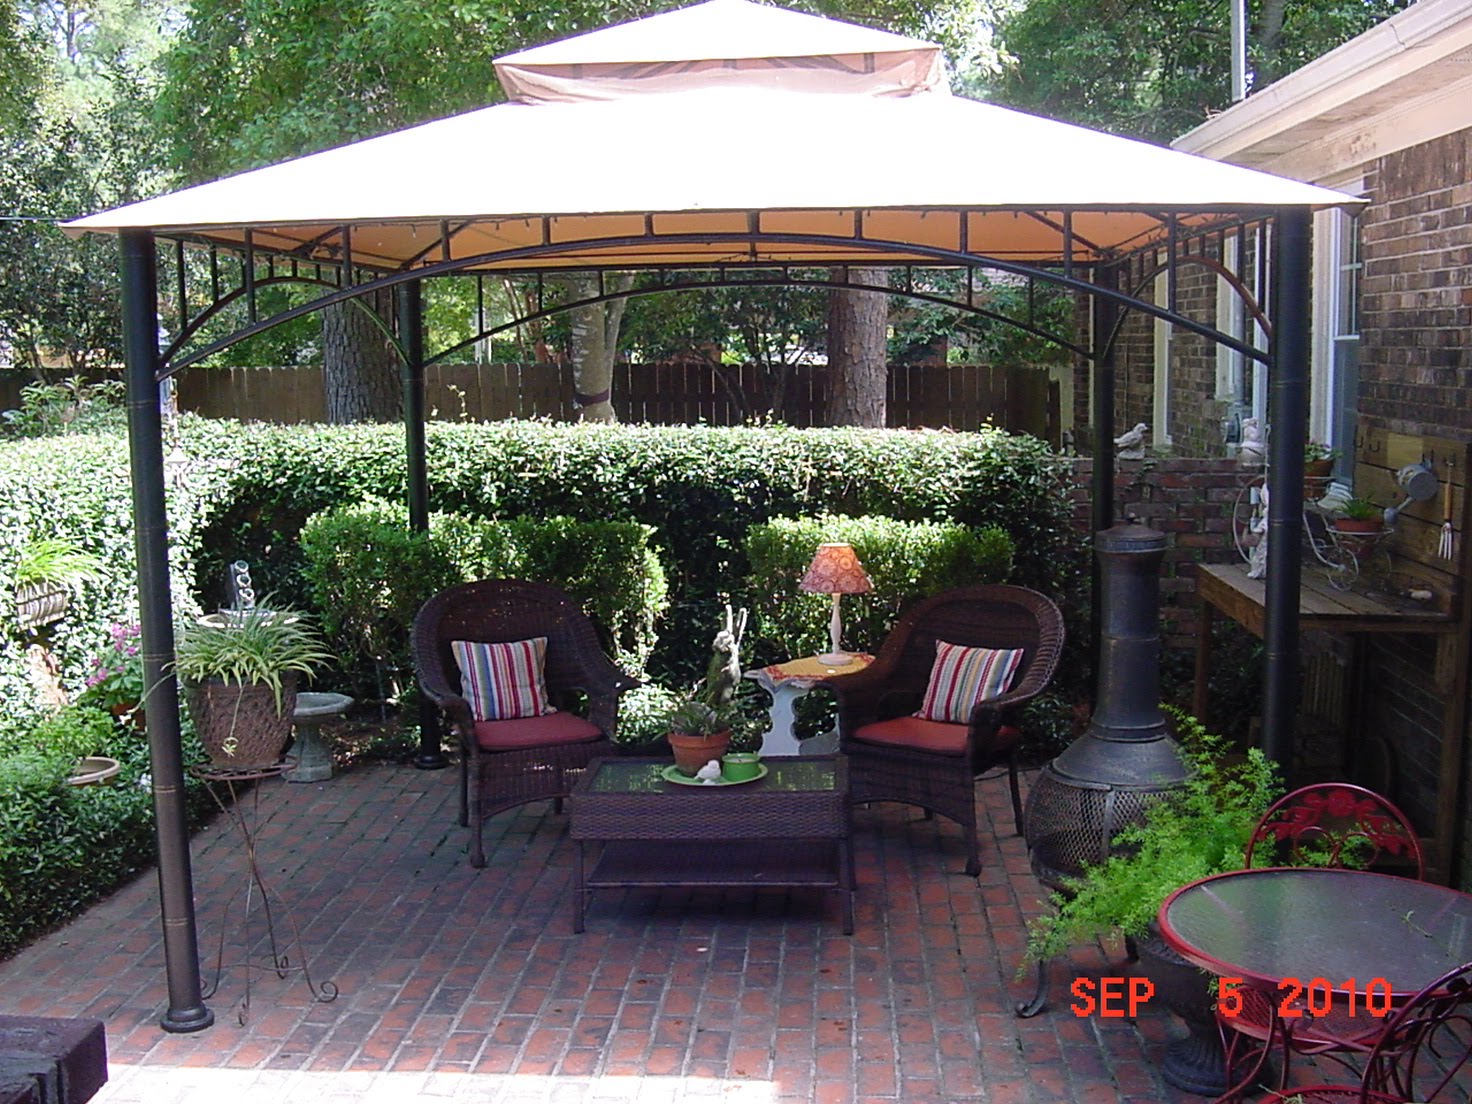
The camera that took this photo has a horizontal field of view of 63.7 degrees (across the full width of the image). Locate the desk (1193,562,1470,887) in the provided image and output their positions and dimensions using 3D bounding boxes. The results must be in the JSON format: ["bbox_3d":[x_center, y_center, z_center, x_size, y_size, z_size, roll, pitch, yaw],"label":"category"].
[{"bbox_3d":[2.999,0.834,5.854,0.553,0.951,1.531,1,6,6],"label":"desk"}]

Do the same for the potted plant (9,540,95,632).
[{"bbox_3d":[-4.487,0.209,7.693,0.532,0.403,0.545,6,4,33],"label":"potted plant"}]

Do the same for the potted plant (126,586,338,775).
[{"bbox_3d":[-2.293,0.655,5.543,0.640,0.617,0.659,-7,-1,-6],"label":"potted plant"}]

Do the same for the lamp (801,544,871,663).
[{"bbox_3d":[0.645,0.324,7.658,0.490,0.776,0.485,1,4,1],"label":"lamp"}]

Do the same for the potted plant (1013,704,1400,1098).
[{"bbox_3d":[1.870,1.170,5.001,1.531,2.083,1.542,1,6,18],"label":"potted plant"}]

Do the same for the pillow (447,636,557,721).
[{"bbox_3d":[-1.440,0.761,7.135,0.488,0.387,0.182,-1,-14,-21],"label":"pillow"}]

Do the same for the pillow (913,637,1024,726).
[{"bbox_3d":[1.350,0.817,6.955,0.634,0.682,0.184,6,40,10],"label":"pillow"}]

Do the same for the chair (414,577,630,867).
[{"bbox_3d":[-1.306,0.952,7.135,1.177,1.427,1.145,-4,9,-19],"label":"chair"}]
